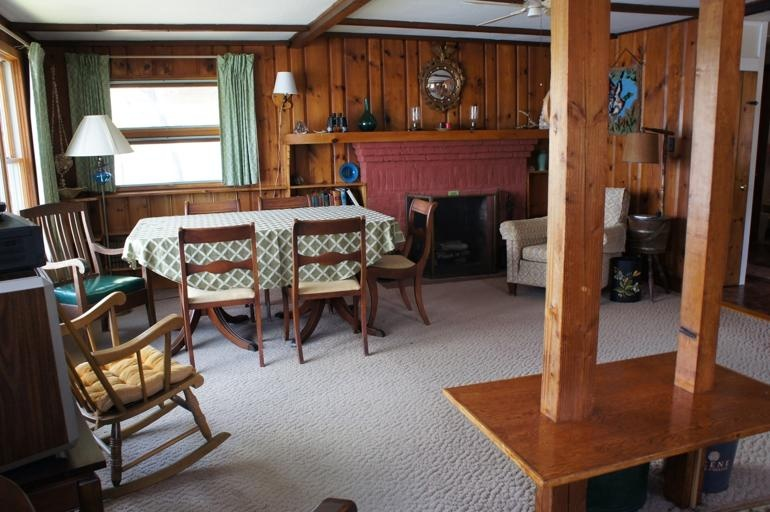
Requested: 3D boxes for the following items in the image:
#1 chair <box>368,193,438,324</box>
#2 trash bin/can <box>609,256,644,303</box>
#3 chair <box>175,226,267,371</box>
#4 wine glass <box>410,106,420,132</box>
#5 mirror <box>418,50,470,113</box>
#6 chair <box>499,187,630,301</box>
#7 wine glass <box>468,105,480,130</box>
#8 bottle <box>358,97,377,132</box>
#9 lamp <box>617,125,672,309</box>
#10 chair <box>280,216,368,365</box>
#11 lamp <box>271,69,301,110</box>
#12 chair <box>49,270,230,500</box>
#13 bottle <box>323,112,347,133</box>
[{"bbox_3d":[0.079,0.042,4.982,0.823,1.046,0.784,3,12,23],"label":"chair"},{"bbox_3d":[2.303,0.228,5.378,0.264,0.412,0.307,0,13,25],"label":"trash bin/can"},{"bbox_3d":[-1.223,0.312,4.174,0.714,1.209,0.795,-4,37,-16],"label":"chair"},{"bbox_3d":[0.350,-1.565,6.344,0.120,0.281,0.310,-5,12,4],"label":"wine glass"},{"bbox_3d":[0.654,-2.047,6.477,0.762,0.915,0.079,-5,13,-17],"label":"mirror"},{"bbox_3d":[1.833,-0.152,5.533,1.232,1.104,1.204,0,7,-21],"label":"chair"},{"bbox_3d":[1.036,-1.620,6.513,0.128,0.271,0.365,-3,12,11],"label":"wine glass"},{"bbox_3d":[-0.191,-1.563,6.214,0.227,0.349,0.202,-21,29,-40],"label":"bottle"},{"bbox_3d":[2.598,-0.445,5.550,0.436,1.638,0.977,1,14,27],"label":"lamp"},{"bbox_3d":[-0.470,0.261,4.345,0.789,1.273,0.832,-4,32,-11],"label":"chair"},{"bbox_3d":[-1.034,-1.724,5.796,0.258,0.359,0.240,-2,11,-15],"label":"lamp"},{"bbox_3d":[-1.419,0.663,3.073,1.063,1.050,0.866,-5,14,-21],"label":"chair"},{"bbox_3d":[-0.536,-1.456,6.109,0.191,0.232,0.259,1,20,-8],"label":"bottle"}]
